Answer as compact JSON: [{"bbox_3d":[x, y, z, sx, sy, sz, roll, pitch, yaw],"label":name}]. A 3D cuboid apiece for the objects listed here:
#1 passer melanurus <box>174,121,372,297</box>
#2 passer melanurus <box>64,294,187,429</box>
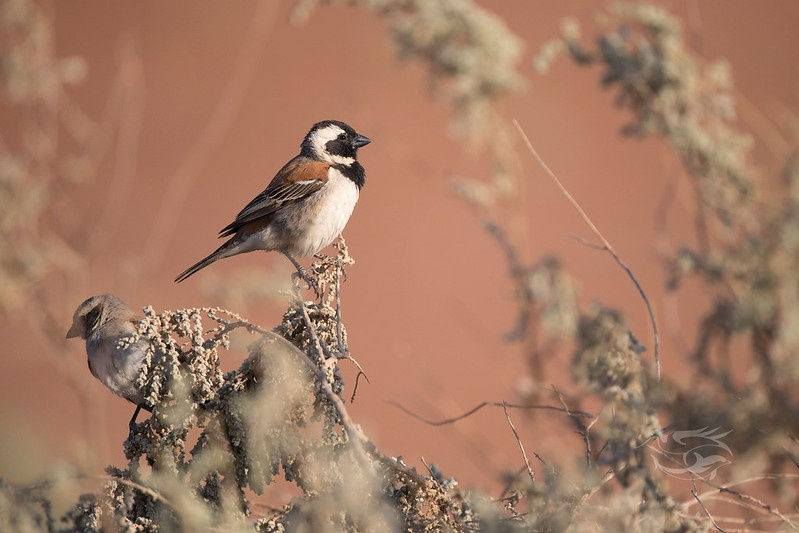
[{"bbox_3d":[-0.743,-0.387,7.890,1.249,0.946,0.433,-5,-5,-3],"label":"passer melanurus"},{"bbox_3d":[-1.477,0.515,7.189,0.785,0.755,0.458,-9,0,-30],"label":"passer melanurus"}]
